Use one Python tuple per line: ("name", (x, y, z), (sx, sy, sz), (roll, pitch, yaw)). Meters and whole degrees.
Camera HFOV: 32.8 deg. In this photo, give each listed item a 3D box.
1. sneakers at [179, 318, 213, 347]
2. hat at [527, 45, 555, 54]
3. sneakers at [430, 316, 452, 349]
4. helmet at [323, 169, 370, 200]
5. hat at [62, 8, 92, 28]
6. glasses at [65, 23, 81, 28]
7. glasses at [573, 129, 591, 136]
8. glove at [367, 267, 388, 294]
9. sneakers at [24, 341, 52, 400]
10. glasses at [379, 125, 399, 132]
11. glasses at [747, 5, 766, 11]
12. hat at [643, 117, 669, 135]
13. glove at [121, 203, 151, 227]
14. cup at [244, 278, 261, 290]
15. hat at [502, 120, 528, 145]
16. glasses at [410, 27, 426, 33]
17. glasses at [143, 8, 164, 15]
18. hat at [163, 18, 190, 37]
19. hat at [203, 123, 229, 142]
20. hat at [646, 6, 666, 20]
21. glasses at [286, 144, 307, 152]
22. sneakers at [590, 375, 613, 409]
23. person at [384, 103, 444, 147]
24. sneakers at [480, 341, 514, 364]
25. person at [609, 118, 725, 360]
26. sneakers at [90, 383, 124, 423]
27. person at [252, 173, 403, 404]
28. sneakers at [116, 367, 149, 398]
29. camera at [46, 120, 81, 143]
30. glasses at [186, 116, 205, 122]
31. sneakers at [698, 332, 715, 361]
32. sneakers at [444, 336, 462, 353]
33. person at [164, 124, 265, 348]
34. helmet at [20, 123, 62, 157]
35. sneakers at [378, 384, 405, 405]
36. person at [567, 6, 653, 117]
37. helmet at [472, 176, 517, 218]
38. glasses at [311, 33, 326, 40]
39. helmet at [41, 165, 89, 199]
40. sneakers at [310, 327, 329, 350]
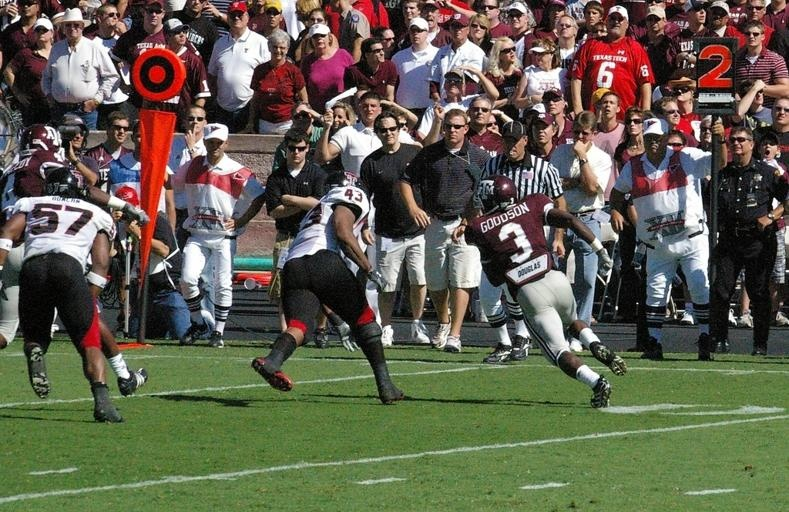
("sneakers", (-2.689, 1.014, 18.477), (0.231, 0.261, 0.679), (25, 29, 28))
("hat", (2.188, -3.126, 20.548), (0.413, 0.131, 0.257), (-3, -4, 39))
("sneakers", (0.609, 0.998, 17.755), (0.156, 0.447, 0.193), (4, -34, 34))
("helmet", (-0.541, -0.743, 14.285), (0.465, 0.308, 0.311), (8, 2, -19))
("hat", (-5.232, -3.849, 21.601), (0.329, 0.324, 0.476), (0, -3, -13))
("glasses", (-5.188, -3.671, 21.474), (0.125, 0.084, 0.160), (-4, 11, 0))
("glasses", (2.400, -1.582, 17.242), (0.220, 0.113, 0.124), (-1, -3, 4))
("glove", (-0.197, 0.265, 14.482), (0.176, 0.243, 0.405), (-34, 1, 0))
("sneakers", (-3.564, 1.117, 13.267), (0.222, 0.588, 0.269), (-6, -2, -14))
("glasses", (-0.111, -1.653, 17.597), (0.269, 0.083, 0.135), (0, -3, -16))
("glasses", (5.541, -3.819, 20.607), (0.252, 0.083, 0.148), (-2, -3, 7))
("hat", (3.260, -1.624, 16.707), (0.265, 0.164, 0.361), (-1, -4, 25))
("glove", (-2.849, -0.496, 14.732), (0.329, 0.197, 0.142), (21, 45, 26))
("cup", (-2.238, 0.426, 20.831), (0.197, 0.232, 0.227), (-4, -4, -34))
("hat", (1.461, -1.531, 16.532), (0.291, 0.260, 0.226), (-1, -3, -6))
("glasses", (0.343, -3.561, 21.187), (0.239, 0.072, 0.096), (-2, -3, 8))
("glasses", (-3.951, -3.949, 21.689), (0.287, 0.125, 0.172), (-1, -3, -9))
("hat", (-3.492, -3.590, 21.109), (0.266, 0.173, 0.360), (-10, 8, -36))
("hat", (-2.446, -1.636, 18.019), (0.298, 0.254, 0.445), (-1, -3, -11))
("hat", (4.124, -3.832, 21.193), (0.297, 0.131, 0.427), (2, 11, 20))
("glasses", (-1.300, -1.394, 17.491), (0.259, 0.080, 0.161), (-1, -3, -10))
("sneakers", (2.101, 1.377, 13.582), (0.184, 0.360, 0.181), (-11, 40, -26))
("person", (0.255, -1.833, 19.021), (0.915, 0.308, 0.269), (23, 7, -11))
("sneakers", (1.274, 1.214, 16.807), (0.490, 0.202, 0.168), (0, 0, -36))
("person", (3.357, -0.192, 16.729), (1.148, 2.980, 0.753), (-2, -4, 8))
("sneakers", (-2.844, 1.420, 13.136), (0.307, 0.396, 0.192), (0, -4, -14))
("person", (-0.757, 0.381, 13.876), (1.518, 2.301, 0.498), (1, -4, -33))
("sneakers", (-2.669, 1.262, 13.862), (0.157, 0.215, 0.481), (11, 21, 17))
("camera", (-4.525, -1.688, 18.192), (0.432, 0.148, 0.407), (-1, 9, -8))
("glasses", (-2.859, -1.942, 19.121), (0.089, 0.089, 0.287), (-4, -4, 36))
("sneakers", (3.858, 1.118, 16.676), (0.177, 0.341, 0.269), (-2, -4, 12))
("sneakers", (0.739, 1.146, 17.613), (0.221, 0.211, 0.355), (-1, -3, 3))
("person", (-2.419, -0.273, 17.999), (1.140, 2.939, 0.576), (-2, -4, 12))
("helmet", (-4.228, -1.372, 15.958), (0.415, 0.464, 0.481), (-9, 43, -14))
("sneakers", (-0.042, 1.427, 14.006), (0.312, 0.188, 0.154), (-10, 10, -22))
("person", (3.268, -2.938, 20.377), (1.240, 1.769, 0.598), (-2, -4, 6))
("helmet", (1.072, -0.671, 14.425), (0.344, 0.340, 0.474), (-20, 17, -42))
("glasses", (-1.234, -3.447, 21.035), (0.218, 0.066, 0.093), (-2, -3, 13))
("helmet", (-3.362, -0.742, 13.494), (0.398, 0.283, 0.278), (12, 0, 1))
("sneakers", (-1.010, 1.096, 18.125), (0.227, 0.261, 0.289), (0, -2, 1))
